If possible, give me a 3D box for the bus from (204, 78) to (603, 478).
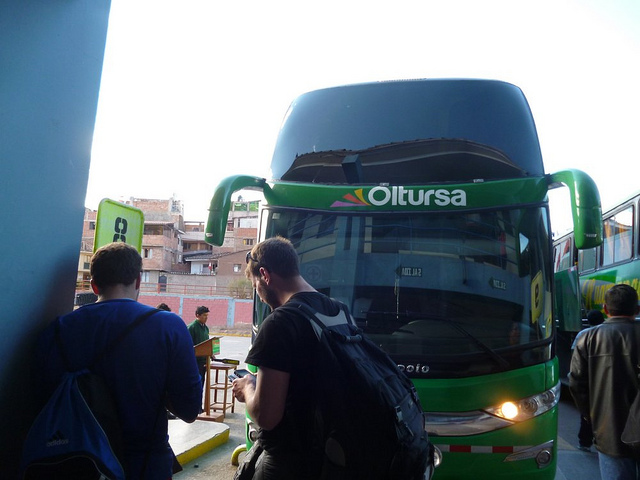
[{"bbox_3d":[1.203,0.467,7.336,2.902,3.851,5.707,0,-8,8],"label":"bus"}]
